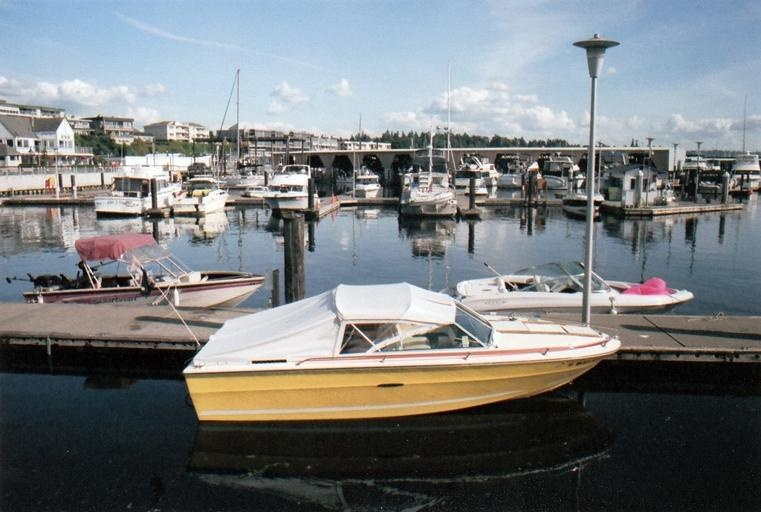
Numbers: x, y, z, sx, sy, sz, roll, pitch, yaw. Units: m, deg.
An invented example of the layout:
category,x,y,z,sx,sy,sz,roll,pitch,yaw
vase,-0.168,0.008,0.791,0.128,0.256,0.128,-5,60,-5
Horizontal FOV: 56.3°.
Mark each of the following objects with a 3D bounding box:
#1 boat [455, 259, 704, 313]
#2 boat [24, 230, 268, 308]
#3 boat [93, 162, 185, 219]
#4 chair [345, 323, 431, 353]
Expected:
category,x,y,z,sx,sy,sz,roll,pitch,yaw
boat,5.096,1.139,20.235,7.818,1.846,2.283,-1,10,-2
boat,-7.870,0.689,21.465,8.053,2.677,2.784,-1,11,-7
boat,-15.520,-4.619,46.585,2.726,2.530,7.238,4,17,6
chair,0.078,1.736,15.970,2.190,0.735,0.694,0,7,-4
